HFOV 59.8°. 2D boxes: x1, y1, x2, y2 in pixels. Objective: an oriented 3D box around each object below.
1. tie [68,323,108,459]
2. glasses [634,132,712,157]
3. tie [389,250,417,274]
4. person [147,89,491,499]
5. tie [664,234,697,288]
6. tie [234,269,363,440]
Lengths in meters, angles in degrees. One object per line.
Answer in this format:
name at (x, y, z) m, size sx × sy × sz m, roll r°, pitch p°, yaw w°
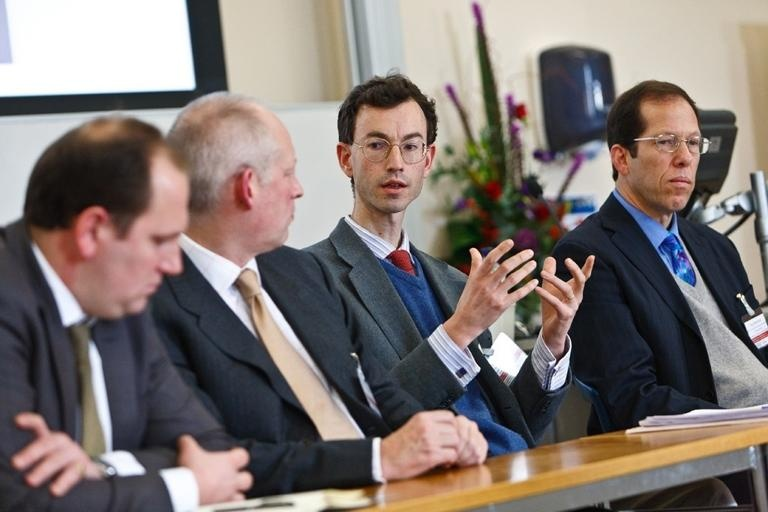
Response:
tie at (-0.638, 0.295, 1.433) m, size 0.063 × 0.316 × 0.045 m, roll -2°, pitch -3°, yaw 6°
glasses at (1.133, -0.441, 2.584) m, size 0.130 × 0.044 × 0.140 m, roll 2°, pitch -1°, yaw -13°
tie at (0.060, 0.019, 2.294) m, size 0.060 × 0.102 × 0.037 m, roll -25°, pitch -22°, yaw -40°
person at (-0.219, 0.138, 2.200) m, size 0.928 × 1.335 × 0.883 m, roll -14°, pitch -5°, yaw 11°
tie at (1.126, 0.021, 2.598) m, size 0.117 × 0.209 × 0.046 m, roll -2°, pitch -16°, yaw -32°
tie at (-0.234, 0.296, 1.751) m, size 0.061 × 0.690 × 0.178 m, roll -38°, pitch -23°, yaw 9°
